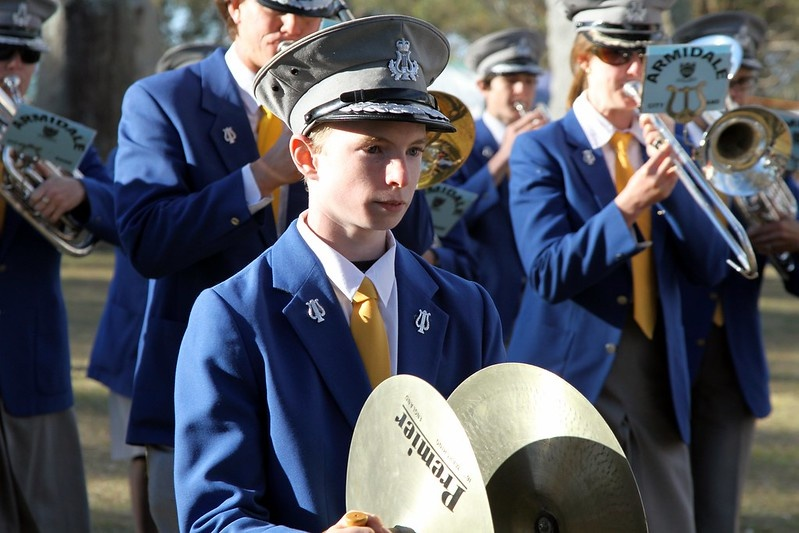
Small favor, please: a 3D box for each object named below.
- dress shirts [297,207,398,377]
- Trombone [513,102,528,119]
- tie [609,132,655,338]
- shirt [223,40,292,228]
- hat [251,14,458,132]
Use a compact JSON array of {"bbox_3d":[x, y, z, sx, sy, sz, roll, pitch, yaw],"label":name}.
[{"bbox_3d":[-0.158,0.102,4.909,0.338,0.696,0.158,-4,-1,-4],"label":"dress shirts"},{"bbox_3d":[0.863,-1.135,8.557,0.047,0.133,0.091,-4,21,36],"label":"Trombone"},{"bbox_3d":[1.253,-0.122,6.388,0.158,1.190,0.194,6,-14,-33],"label":"tie"},{"bbox_3d":[-0.738,-0.681,5.921,0.483,0.748,0.169,-7,7,41],"label":"shirt"},{"bbox_3d":[-0.176,-0.737,5.159,0.882,0.457,0.936,-1,-7,-27],"label":"hat"}]
